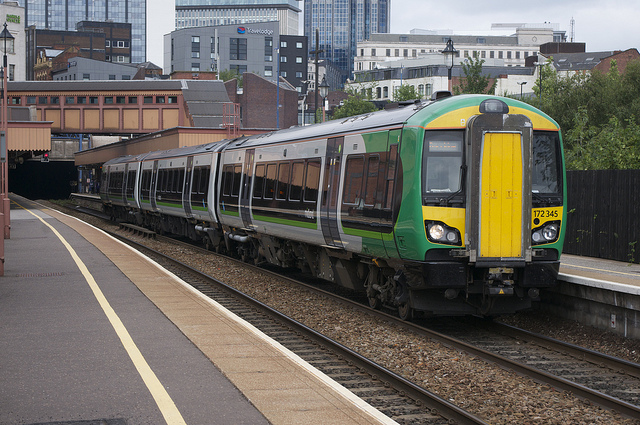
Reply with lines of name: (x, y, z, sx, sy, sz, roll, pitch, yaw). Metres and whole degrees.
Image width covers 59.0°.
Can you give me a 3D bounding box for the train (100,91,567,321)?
train: (-2.403, -0.801, 22.570, 3.099, 4.615, 26.705, 0, 3, -26)
